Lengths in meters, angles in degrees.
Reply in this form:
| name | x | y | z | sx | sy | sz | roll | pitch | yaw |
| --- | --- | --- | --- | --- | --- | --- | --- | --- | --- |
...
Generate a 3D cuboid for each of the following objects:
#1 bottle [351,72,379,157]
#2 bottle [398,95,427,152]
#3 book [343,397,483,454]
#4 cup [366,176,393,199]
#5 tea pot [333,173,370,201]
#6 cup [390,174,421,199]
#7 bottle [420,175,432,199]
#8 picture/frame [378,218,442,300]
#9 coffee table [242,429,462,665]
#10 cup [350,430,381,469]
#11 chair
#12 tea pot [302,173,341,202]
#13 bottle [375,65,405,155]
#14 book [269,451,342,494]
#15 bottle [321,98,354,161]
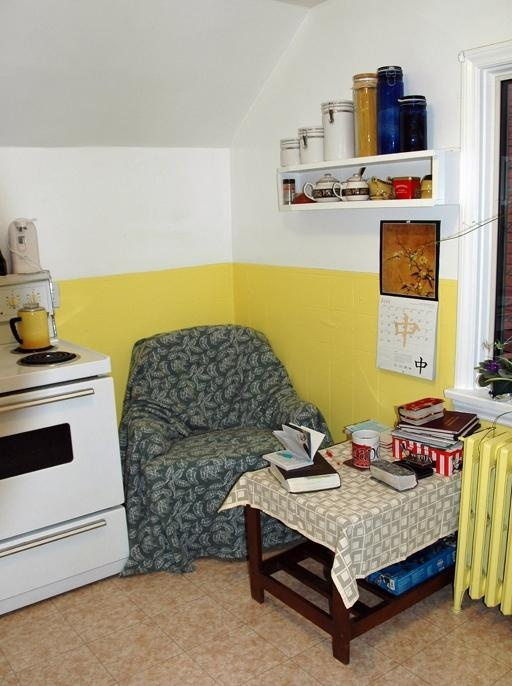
| name | x | y | z | sx | sy | sz | roll | pitch | yaw |
| --- | --- | --- | --- | --- | --- | --- | --- | --- | --- |
| bottle | 0.373 | -0.771 | 1.897 | 0.076 | 0.262 | 0.125 | -3 | 5 | 9 |
| bottle | 0.497 | -0.696 | 1.772 | 0.083 | 0.169 | 0.071 | -2 | 5 | 14 |
| book | 0.572 | 0.257 | 1.802 | 0.269 | 0.084 | 0.206 | 7 | 13 | 37 |
| cup | 0.425 | -0.532 | 1.909 | 0.082 | 0.091 | 0.089 | -3 | 5 | 0 |
| tea pot | 0.342 | -0.559 | 1.992 | 0.049 | 0.115 | 0.120 | -7 | 6 | -34 |
| cup | 0.483 | -0.520 | 1.838 | 0.085 | 0.081 | 0.082 | -1 | 20 | 0 |
| bottle | 0.532 | -0.489 | 1.751 | 0.036 | 0.085 | 0.115 | -2 | 5 | 17 |
| picture/frame | 0.568 | -0.315 | 2.031 | 0.012 | 0.291 | 0.289 | -10 | 15 | -29 |
| coffee table | 0.258 | 0.679 | 1.798 | 0.566 | 0.353 | 0.591 | -15 | 25 | -36 |
| cup | 0.352 | 0.340 | 1.805 | 0.086 | 0.085 | 0.115 | 1 | 14 | 7 |
| chair | -0.182 | 0.402 | 2.419 | 0.842 | 0.782 | 0.686 | -6 | 9 | -14 |
| tea pot | 0.255 | -0.595 | 2.147 | 0.156 | 0.100 | 0.116 | 13 | 20 | 42 |
| bottle | 0.432 | -0.759 | 1.822 | 0.087 | 0.264 | 0.078 | -2 | 5 | 20 |
| book | 0.149 | 0.399 | 1.730 | 0.173 | 0.057 | 0.209 | -4 | 5 | -12 |
| bottle | 0.298 | -0.761 | 2.012 | 0.114 | 0.224 | 0.121 | -3 | 5 | 0 |
